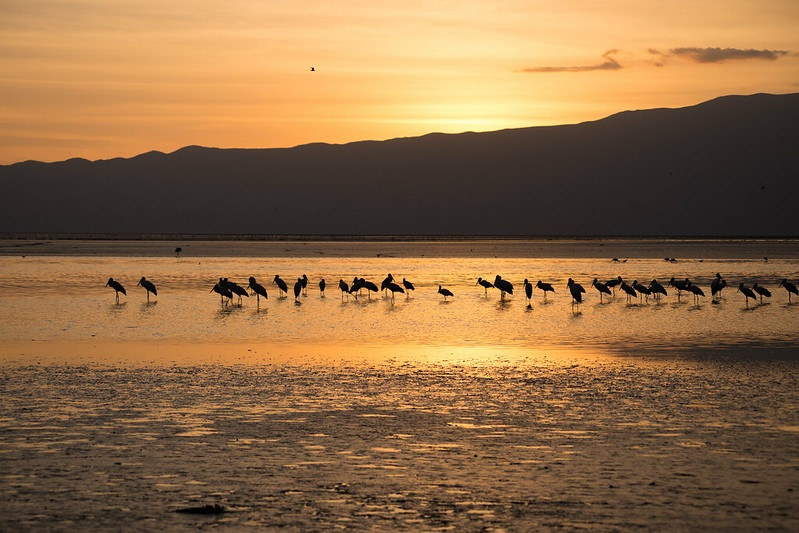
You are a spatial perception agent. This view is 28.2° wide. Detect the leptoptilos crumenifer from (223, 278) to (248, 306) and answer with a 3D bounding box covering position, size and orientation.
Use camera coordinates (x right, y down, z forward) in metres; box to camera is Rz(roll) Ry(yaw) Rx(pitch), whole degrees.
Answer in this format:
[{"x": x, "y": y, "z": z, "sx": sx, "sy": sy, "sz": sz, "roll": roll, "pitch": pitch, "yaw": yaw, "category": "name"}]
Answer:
[{"x": -6.691, "y": 1.137, "z": 64.845, "sx": 0.439, "sy": 0.802, "sz": 1.090, "roll": -21, "pitch": 48, "yaw": -28, "category": "leptoptilos crumenifer"}]
